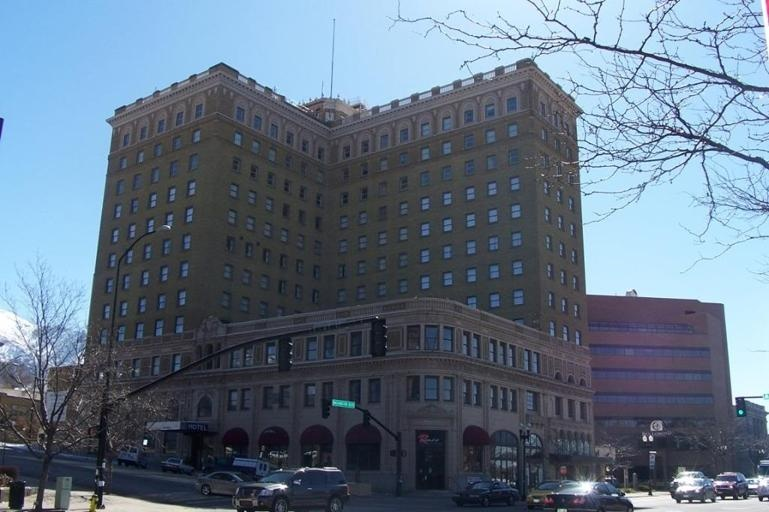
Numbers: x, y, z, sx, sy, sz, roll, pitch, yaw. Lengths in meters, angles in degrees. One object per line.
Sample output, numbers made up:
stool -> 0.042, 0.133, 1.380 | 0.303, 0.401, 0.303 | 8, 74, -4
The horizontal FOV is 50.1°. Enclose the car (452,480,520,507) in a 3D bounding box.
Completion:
car -> 9.822, 22.563, 78.274 | 6.510, 2.652, 1.847 | 11, -23, -25

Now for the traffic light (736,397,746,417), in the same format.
traffic light -> 30.843, 12.960, 71.057 | 0.689, 1.625, 1.147 | -6, -22, 18

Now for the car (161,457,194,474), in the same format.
car -> -25.243, 25.493, 99.738 | 1.771, 1.040, 3.229 | 2, -12, 9

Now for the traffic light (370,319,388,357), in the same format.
traffic light -> -0.371, 5.316, 54.943 | 0.890, 2.585, 0.839 | -2, -21, 9
